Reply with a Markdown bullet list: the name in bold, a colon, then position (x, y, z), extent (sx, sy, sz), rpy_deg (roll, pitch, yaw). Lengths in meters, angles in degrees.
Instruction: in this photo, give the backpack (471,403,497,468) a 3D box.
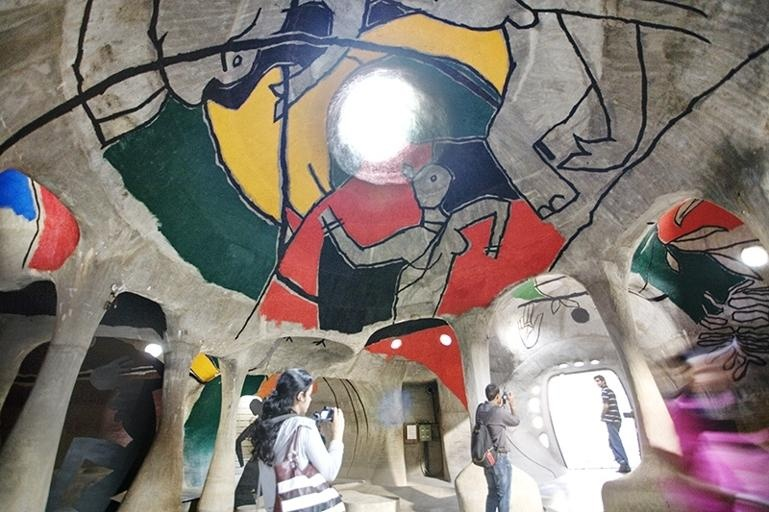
- **backpack**: position (2.416, 4.367, 13.146), extent (0.569, 1.172, 0.472), rpy_deg (-9, 4, -14)
